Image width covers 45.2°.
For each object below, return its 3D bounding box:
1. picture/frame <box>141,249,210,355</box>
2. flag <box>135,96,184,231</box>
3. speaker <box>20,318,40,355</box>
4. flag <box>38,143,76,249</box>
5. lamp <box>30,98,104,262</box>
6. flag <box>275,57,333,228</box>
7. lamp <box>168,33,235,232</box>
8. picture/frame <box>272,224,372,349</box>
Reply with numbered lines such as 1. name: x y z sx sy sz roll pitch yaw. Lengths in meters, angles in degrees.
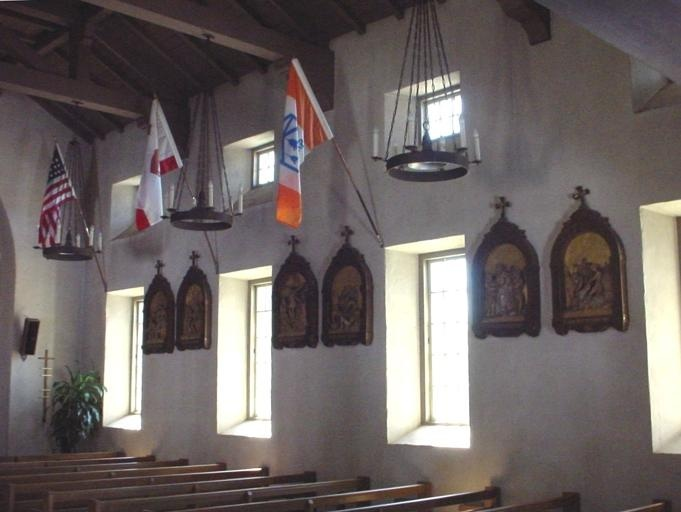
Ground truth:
1. picture/frame: -2.546 0.764 12.796 0.149 1.411 1.513 3 -8 -41
2. flag: -2.453 -1.255 10.850 0.642 1.803 0.396 -4 -6 26
3. speaker: -5.302 1.404 13.984 0.297 0.662 0.269 1 -6 -28
4. flag: -4.565 -1.097 13.154 0.658 1.887 0.138 0 -18 -32
5. lamp: -4.426 -1.059 13.400 0.913 2.152 0.937 1 -2 0
6. flag: -0.462 -1.295 9.427 0.625 1.944 0.282 3 -7 -44
7. lamp: -1.882 -1.811 11.448 1.089 2.791 1.109 0 7 -22
8. picture/frame: -0.258 0.435 10.776 1.697 1.577 0.198 -6 -7 43
